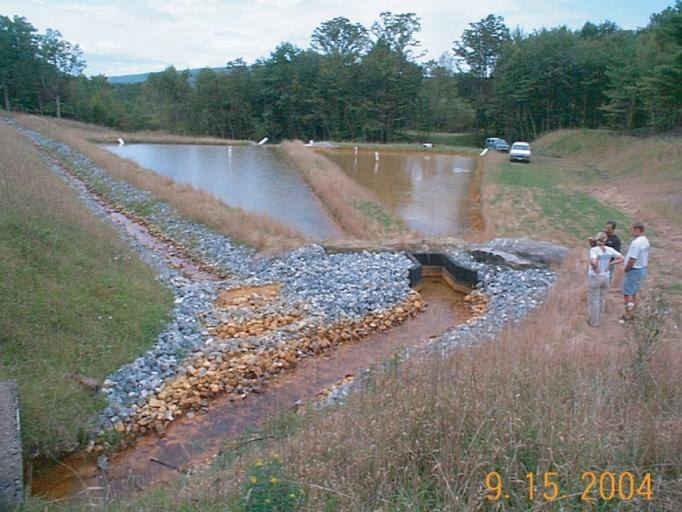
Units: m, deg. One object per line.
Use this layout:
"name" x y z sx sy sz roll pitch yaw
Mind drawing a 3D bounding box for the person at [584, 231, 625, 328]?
"person" 7.015 0.563 16.641 0.965 2.515 0.910 -1 16 0
